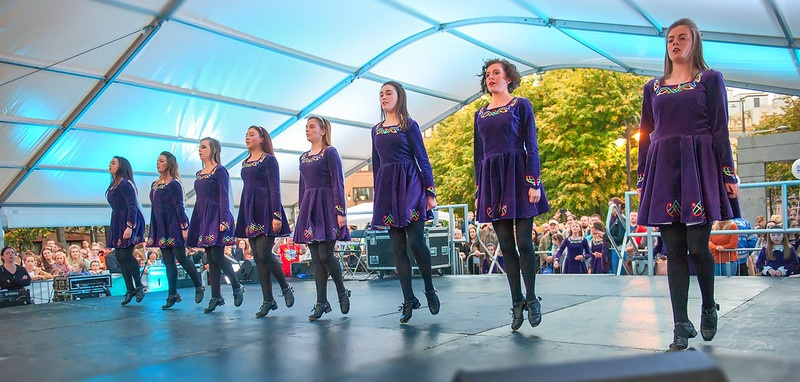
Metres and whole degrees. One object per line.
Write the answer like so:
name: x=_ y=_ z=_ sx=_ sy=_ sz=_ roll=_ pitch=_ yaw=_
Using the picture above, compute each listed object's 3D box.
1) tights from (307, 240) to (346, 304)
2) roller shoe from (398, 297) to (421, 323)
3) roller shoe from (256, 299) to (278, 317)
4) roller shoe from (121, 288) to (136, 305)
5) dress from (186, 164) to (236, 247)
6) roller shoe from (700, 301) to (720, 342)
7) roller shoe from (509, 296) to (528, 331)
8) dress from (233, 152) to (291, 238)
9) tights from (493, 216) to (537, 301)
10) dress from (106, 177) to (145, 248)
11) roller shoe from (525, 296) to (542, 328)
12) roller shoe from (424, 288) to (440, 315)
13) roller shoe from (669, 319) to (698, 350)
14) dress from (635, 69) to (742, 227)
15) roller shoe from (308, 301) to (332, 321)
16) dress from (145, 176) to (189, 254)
tights: x=-1.405 y=1.530 z=9.247 sx=0.474 sy=1.352 sz=0.436 roll=-3 pitch=-40 yaw=-13
roller shoe: x=0.138 y=2.112 z=8.569 sx=0.548 sy=0.264 sz=0.226 roll=-46 pitch=-7 yaw=-21
roller shoe: x=-2.612 y=2.289 z=9.434 sx=0.218 sy=0.295 sz=0.388 roll=-10 pitch=-9 yaw=25
roller shoe: x=-6.279 y=2.460 z=11.205 sx=0.297 sy=0.300 sz=0.466 roll=0 pitch=-9 yaw=-31
dress: x=-4.028 y=0.325 z=10.344 sx=1.121 sy=1.744 sz=0.410 roll=-11 pitch=-10 yaw=28
roller shoe: x=4.601 y=1.970 z=7.308 sx=0.304 sy=0.564 sz=0.219 roll=3 pitch=5 yaw=-31
roller shoe: x=1.937 y=2.018 z=7.950 sx=0.343 sy=0.476 sz=0.184 roll=0 pitch=-11 yaw=-33
dress: x=-2.836 y=0.095 z=9.779 sx=1.022 sy=1.685 sz=0.370 roll=-10 pitch=-10 yaw=23
tights: x=2.004 y=1.094 z=8.130 sx=0.707 sy=1.697 sz=0.490 roll=-14 pitch=-37 yaw=18
dress: x=-6.422 y=0.535 z=11.256 sx=0.763 sy=1.607 sz=0.420 roll=-7 pitch=-9 yaw=2
roller shoe: x=2.187 y=1.981 z=7.929 sx=0.209 sy=0.221 sz=0.568 roll=-22 pitch=15 yaw=21
roller shoe: x=0.604 y=1.971 z=8.667 sx=0.211 sy=0.492 sz=0.221 roll=-12 pitch=6 yaw=21
roller shoe: x=4.186 y=2.122 z=7.218 sx=0.274 sy=0.256 sz=0.826 roll=-11 pitch=-1 yaw=43
dress: x=4.191 y=-0.608 z=7.217 sx=1.375 sy=2.243 sz=0.330 roll=-8 pitch=-9 yaw=11
roller shoe: x=-1.482 y=2.234 z=9.048 sx=0.517 sy=0.217 sz=0.224 roll=-11 pitch=-12 yaw=-43
dress: x=-5.169 y=0.493 z=10.884 sx=1.018 sy=1.545 sz=0.310 roll=-8 pitch=-9 yaw=12
